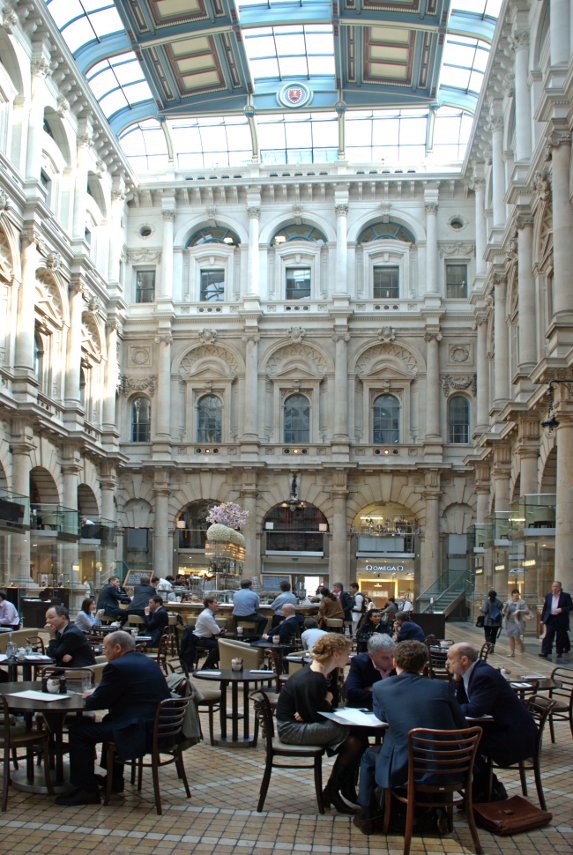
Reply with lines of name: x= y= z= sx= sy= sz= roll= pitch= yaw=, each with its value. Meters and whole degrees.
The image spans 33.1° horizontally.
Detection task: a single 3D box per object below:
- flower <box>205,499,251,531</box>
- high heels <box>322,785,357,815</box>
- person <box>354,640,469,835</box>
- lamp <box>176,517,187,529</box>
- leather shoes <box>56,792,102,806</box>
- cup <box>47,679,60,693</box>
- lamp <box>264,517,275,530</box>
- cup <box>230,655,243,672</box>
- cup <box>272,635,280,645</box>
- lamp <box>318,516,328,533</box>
flower: x=-1.744 y=2.499 z=27.555 sx=0.890 sy=0.922 sz=2.510 roll=1 pitch=-11 yaw=-7
high heels: x=0.384 y=2.938 z=7.588 sx=0.379 sy=0.230 sz=0.124 roll=1 pitch=-3 yaw=-5
person: x=0.876 y=2.204 z=6.786 sx=0.523 sy=1.365 sz=0.906 roll=2 pitch=-12 yaw=-16
lamp: x=-4.291 y=3.892 z=38.870 sx=0.387 sy=0.354 sz=0.372 roll=0 pitch=-7 yaw=-4
leather shoes: x=-1.644 y=2.933 z=7.602 sx=0.344 sy=0.139 sz=0.118 roll=6 pitch=-20 yaw=4
cup: x=-2.042 y=2.260 z=8.399 sx=0.106 sy=0.143 sz=0.110 roll=-2 pitch=-10 yaw=0
lamp: x=-0.727 y=3.920 z=38.669 sx=0.357 sy=0.469 sz=0.484 roll=-1 pitch=-11 yaw=1
cup: x=-0.566 y=2.607 z=10.596 sx=0.162 sy=0.147 sz=0.158 roll=-1 pitch=4 yaw=0
cup: x=-0.168 y=3.149 z=14.269 sx=0.089 sy=0.094 sz=0.086 roll=0 pitch=-4 yaw=0
lamp: x=1.438 y=3.941 z=38.381 sx=0.527 sy=0.654 sz=0.366 roll=-1 pitch=-4 yaw=7
